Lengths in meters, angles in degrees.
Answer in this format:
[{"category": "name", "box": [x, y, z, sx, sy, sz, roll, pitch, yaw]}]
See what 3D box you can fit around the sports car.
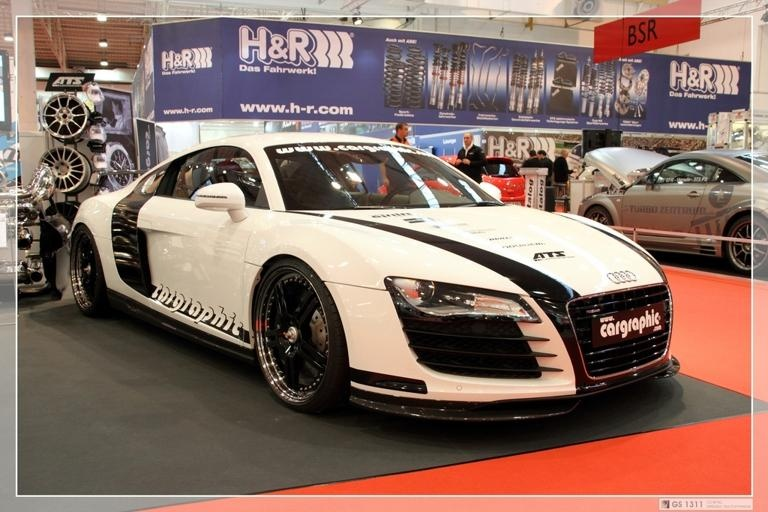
[{"category": "sports car", "box": [-0.538, 0.019, 3.332, 2.047, 0.985, 3.675, -4, 7, -44]}]
